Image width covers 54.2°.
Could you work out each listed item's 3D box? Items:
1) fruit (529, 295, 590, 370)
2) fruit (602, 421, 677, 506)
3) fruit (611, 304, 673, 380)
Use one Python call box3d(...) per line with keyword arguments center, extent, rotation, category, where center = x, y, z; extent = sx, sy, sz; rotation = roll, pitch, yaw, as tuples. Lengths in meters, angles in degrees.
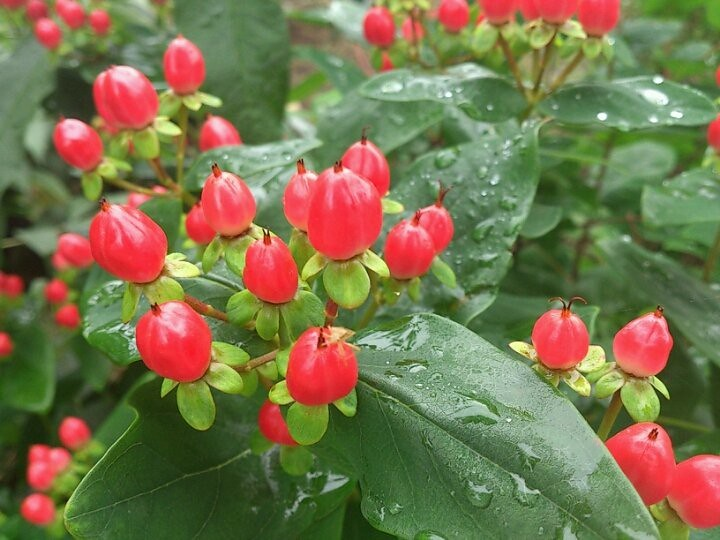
box3d(center=(0.242, 0.076, 0.849), extent=(0.064, 0.095, 0.061), rotation=(21, 24, 41), category="fruit")
box3d(center=(0.315, 0.222, 0.798), extent=(0.055, 0.075, 0.056), rotation=(3, 49, -37), category="fruit")
box3d(center=(0.346, 0.089, 0.844), extent=(0.058, 0.087, 0.055), rotation=(9, 25, 3), category="fruit")
